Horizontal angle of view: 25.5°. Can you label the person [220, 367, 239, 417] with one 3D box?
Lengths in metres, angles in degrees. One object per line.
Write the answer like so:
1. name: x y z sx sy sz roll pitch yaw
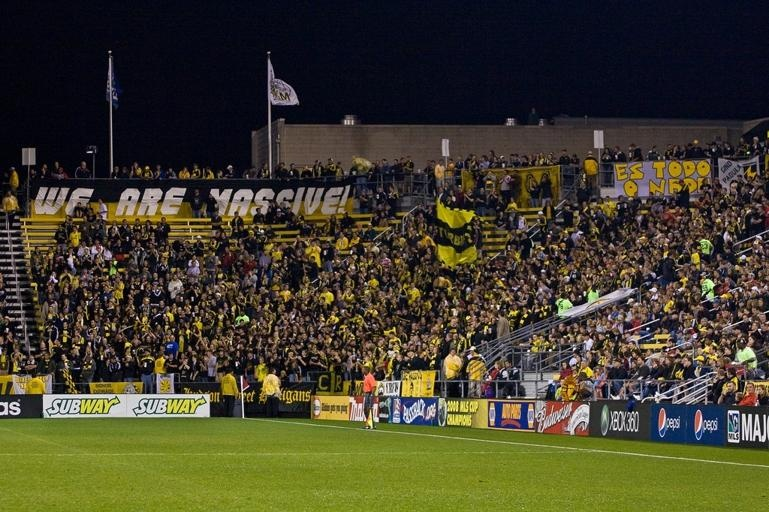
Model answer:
1. person: -7.453 6.700 81.069 0.888 1.964 0.857 1 -7 4
